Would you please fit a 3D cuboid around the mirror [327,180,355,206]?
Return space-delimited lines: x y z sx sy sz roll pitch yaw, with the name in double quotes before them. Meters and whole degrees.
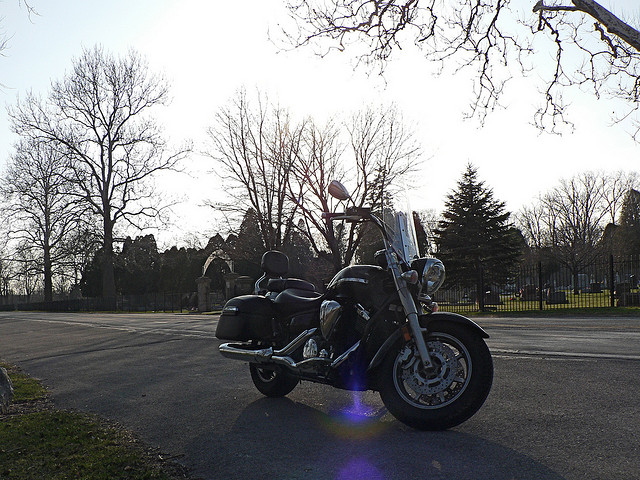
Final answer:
"mirror" 0.200 -0.530 4.860 0.233 0.217 0.647 -2 -4 3

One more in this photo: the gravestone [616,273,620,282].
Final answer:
"gravestone" 18.445 2.356 28.940 0.134 0.341 2.715 -3 -4 32

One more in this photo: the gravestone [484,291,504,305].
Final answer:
"gravestone" 10.820 3.592 29.188 0.467 0.705 0.923 -2 -4 -20
